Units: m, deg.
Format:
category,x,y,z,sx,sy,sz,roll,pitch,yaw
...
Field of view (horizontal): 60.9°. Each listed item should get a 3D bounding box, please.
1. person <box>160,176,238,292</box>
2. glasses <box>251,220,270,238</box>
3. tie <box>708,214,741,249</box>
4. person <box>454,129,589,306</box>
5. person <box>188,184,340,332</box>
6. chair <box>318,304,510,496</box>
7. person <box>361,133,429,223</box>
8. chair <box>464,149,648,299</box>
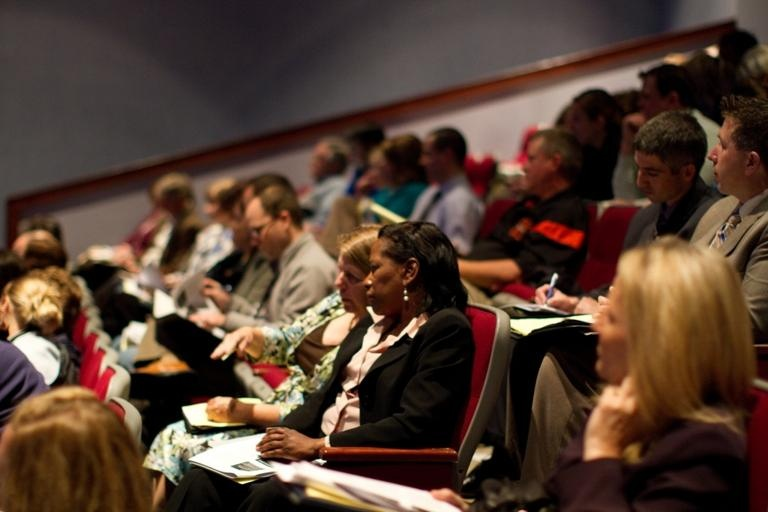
category,x,y,z,sx,sy,sz,roll,pitch,yaw
person,-1.365,-0.165,4.787,0.305,0.287,0.822,-49,-1,34
glasses,-0.765,-0.161,4.008,0.081,0.063,0.110,-29,-22,-42
tie,1.391,-0.101,2.652,0.144,0.054,0.083,-51,-14,1
person,0.735,-0.311,4.014,0.823,1.176,0.820,2,11,7
person,-0.793,0.017,4.062,0.888,0.792,0.892,1,0,-17
chair,0.109,0.539,2.725,0.677,0.868,0.600,6,-4,-13
person,0.083,-0.616,5.089,0.502,0.913,0.807,3,0,-7
chair,1.013,-0.173,4.167,0.760,1.462,0.777,11,8,5
